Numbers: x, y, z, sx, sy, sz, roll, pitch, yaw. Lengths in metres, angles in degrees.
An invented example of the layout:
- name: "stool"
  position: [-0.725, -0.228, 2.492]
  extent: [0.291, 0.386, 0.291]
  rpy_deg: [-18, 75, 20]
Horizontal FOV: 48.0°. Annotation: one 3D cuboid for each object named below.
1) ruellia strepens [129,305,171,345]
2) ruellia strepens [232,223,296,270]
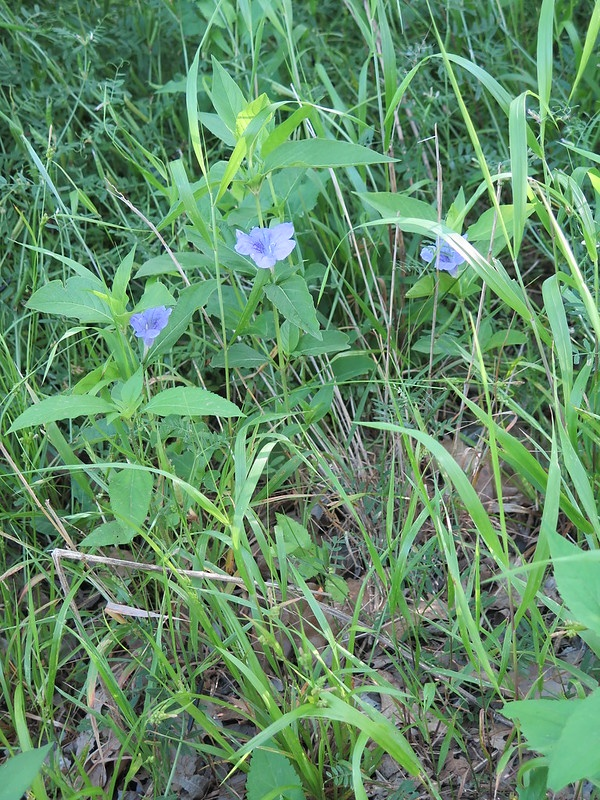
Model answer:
- name: "ruellia strepens"
  position: [-0.331, -0.176, 1.542]
  extent: [0.095, 0.051, 0.086]
  rpy_deg: [-31, 53, -19]
- name: "ruellia strepens"
  position: [-0.066, -0.321, 1.446]
  extent: [0.111, 0.058, 0.110]
  rpy_deg: [23, 75, 28]
